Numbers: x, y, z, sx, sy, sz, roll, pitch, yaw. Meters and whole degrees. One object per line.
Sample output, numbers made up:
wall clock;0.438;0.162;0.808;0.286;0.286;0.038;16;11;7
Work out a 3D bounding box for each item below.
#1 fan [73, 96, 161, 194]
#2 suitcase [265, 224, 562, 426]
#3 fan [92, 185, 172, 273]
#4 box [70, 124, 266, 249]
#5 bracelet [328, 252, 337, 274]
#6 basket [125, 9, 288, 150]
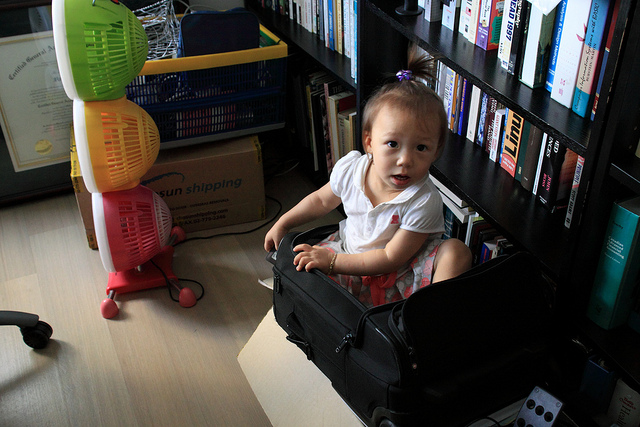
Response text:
fan;-0.714;-0.245;1.727;0.264;0.389;0.330;-13;22;-28
suitcase;0.195;0.179;1.191;0.492;0.275;0.545;-25;44;-29
fan;-0.686;0.007;1.899;0.262;0.368;0.363;-5;6;-12
box;-0.548;-0.276;2.178;0.738;0.402;0.548;-13;20;-16
bracelet;0.034;0.138;1.343;0.009;0.040;0.040;31;78;3
basket;-0.427;-0.478;1.951;0.715;0.408;0.542;-12;44;-14
